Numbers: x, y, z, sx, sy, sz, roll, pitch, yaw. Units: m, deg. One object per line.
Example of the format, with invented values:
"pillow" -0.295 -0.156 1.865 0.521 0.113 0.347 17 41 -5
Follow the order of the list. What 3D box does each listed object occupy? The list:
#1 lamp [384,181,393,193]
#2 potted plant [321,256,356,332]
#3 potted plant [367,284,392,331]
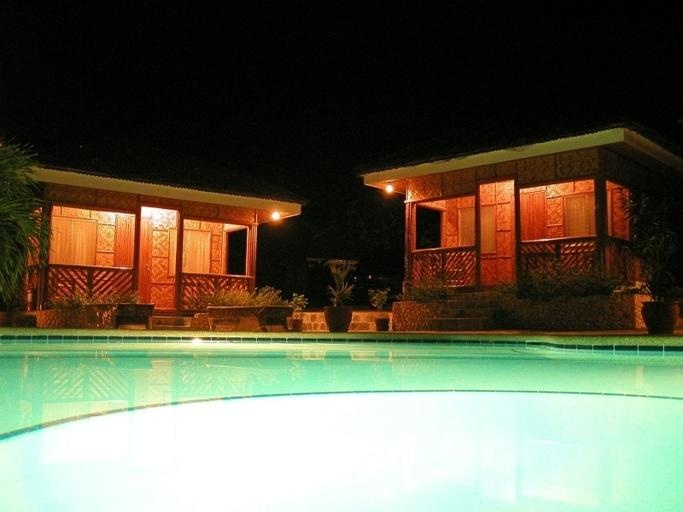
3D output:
"lamp" 1.239 -1.871 16.011 0.255 0.314 0.264 -5 -8 25
"potted plant" -0.051 0.982 14.235 0.667 1.620 0.611 -2 -8 6
"potted plant" 1.030 1.412 15.251 0.558 1.017 0.604 -2 -12 18
